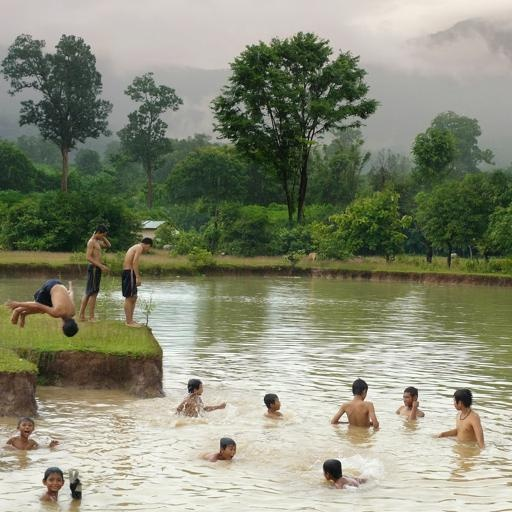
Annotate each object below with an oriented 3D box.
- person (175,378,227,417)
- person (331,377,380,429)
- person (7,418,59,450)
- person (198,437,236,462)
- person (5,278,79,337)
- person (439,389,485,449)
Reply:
[{"bbox_3d":[-1.051,2.610,21.368,0.985,0.643,0.777,0,-3,-22],"label":"person"},{"bbox_3d":[1.827,2.753,21.368,0.611,1.175,0.433,5,13,20],"label":"person"},{"bbox_3d":[-3.793,2.976,19.418,0.954,0.536,0.593,-2,-3,25],"label":"person"},{"bbox_3d":[-0.568,3.204,19.039,0.740,0.352,0.245,-16,-18,38],"label":"person"},{"bbox_3d":[-3.775,0.872,20.807,0.907,0.783,1.707,-1,1,7],"label":"person"},{"bbox_3d":[3.624,2.816,20.168,0.867,0.953,0.690,-2,-3,27],"label":"person"}]
